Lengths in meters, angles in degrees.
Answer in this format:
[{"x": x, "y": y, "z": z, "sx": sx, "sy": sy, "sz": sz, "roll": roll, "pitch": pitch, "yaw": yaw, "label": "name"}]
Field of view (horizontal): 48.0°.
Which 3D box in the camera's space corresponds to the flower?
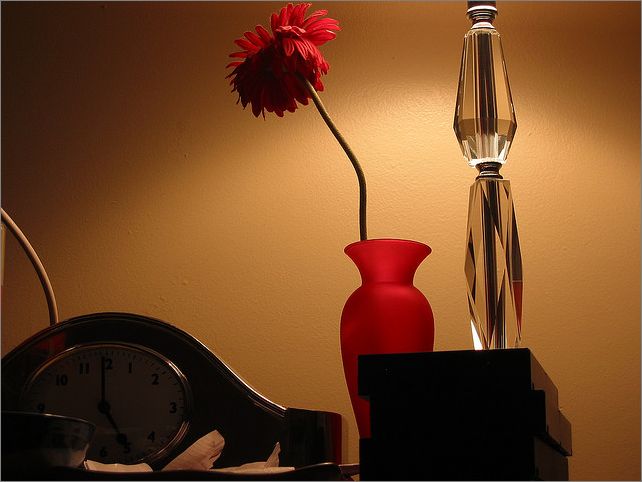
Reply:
[{"x": -0.036, "y": -0.194, "z": 1.128, "sx": 0.214, "sy": 0.397, "sz": 0.089, "roll": 0, "pitch": -9, "yaw": -10, "label": "flower"}]
